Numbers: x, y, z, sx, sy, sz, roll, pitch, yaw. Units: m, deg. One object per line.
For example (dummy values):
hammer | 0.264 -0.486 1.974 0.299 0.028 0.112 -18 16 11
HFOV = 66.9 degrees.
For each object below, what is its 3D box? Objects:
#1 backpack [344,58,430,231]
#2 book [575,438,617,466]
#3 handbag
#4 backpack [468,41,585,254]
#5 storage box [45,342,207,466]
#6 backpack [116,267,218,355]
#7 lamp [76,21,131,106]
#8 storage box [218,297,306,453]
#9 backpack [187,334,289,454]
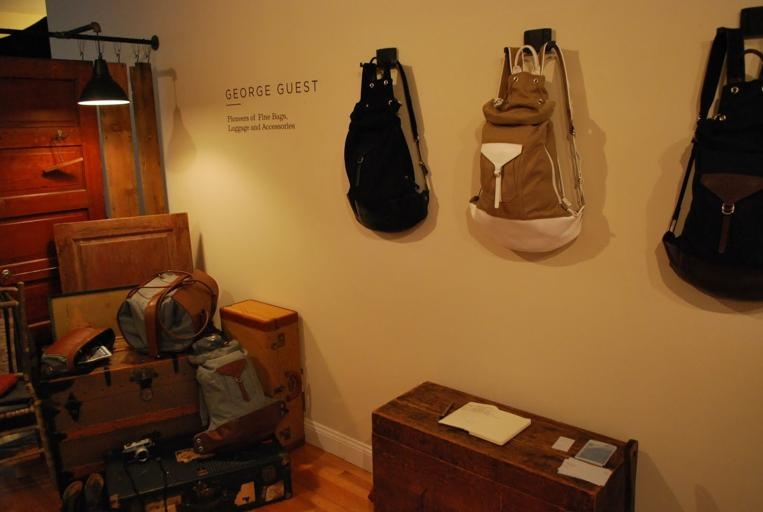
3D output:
backpack | 0.029 -0.606 3.214 0.466 0.924 0.280 -2 15 -2
book | 1.020 0.935 2.762 0.133 0.025 0.208 14 23 41
handbag | -1.809 0.493 3.501 0.275 0.149 0.353 17 28 33
backpack | 0.718 -0.505 2.854 0.550 1.017 0.311 1 15 10
storage box | -1.637 0.631 3.623 0.878 0.637 0.574 -8 11 -28
backpack | -1.302 0.393 3.771 0.431 0.415 0.577 8 36 31
lamp | -1.879 -1.304 3.907 0.289 0.518 0.284 -6 9 -14
storage box | -0.740 0.765 3.650 0.324 1.107 0.682 -18 25 -39
backpack | -0.901 0.810 3.494 0.521 0.637 0.258 -17 -3 -14
